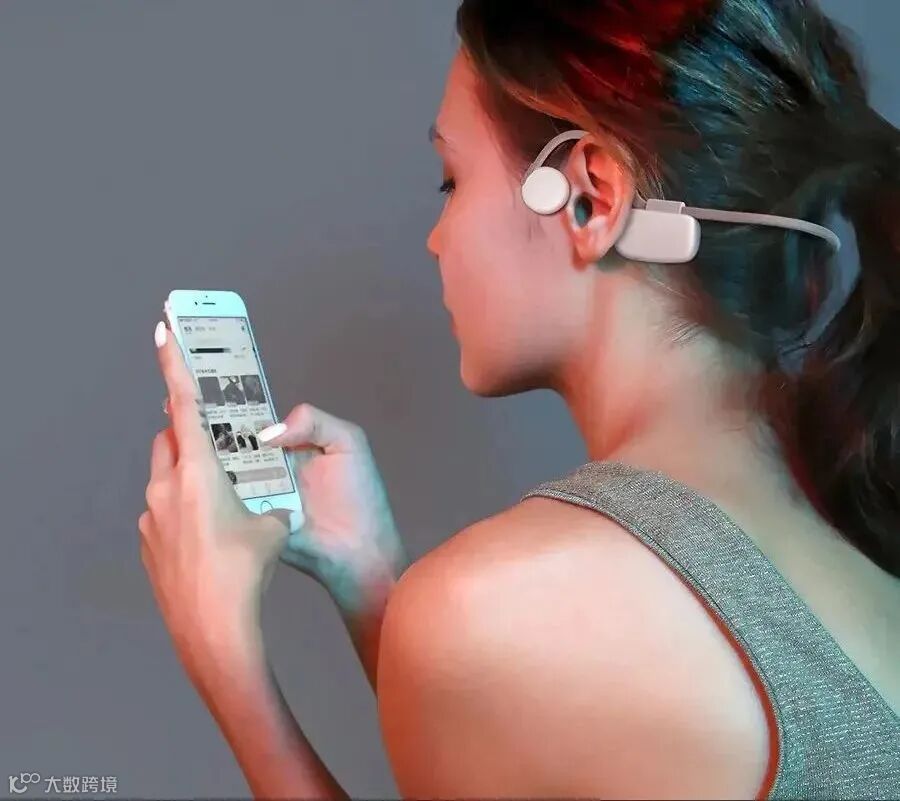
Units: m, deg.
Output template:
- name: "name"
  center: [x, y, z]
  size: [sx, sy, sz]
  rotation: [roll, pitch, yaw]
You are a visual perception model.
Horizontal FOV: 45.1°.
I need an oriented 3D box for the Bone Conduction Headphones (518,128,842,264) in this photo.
- name: "Bone Conduction Headphones"
  center: [0.200, -0.179, 1.088]
  size: [0.204, 0.165, 0.062]
  rotation: [17, 95, -2]
